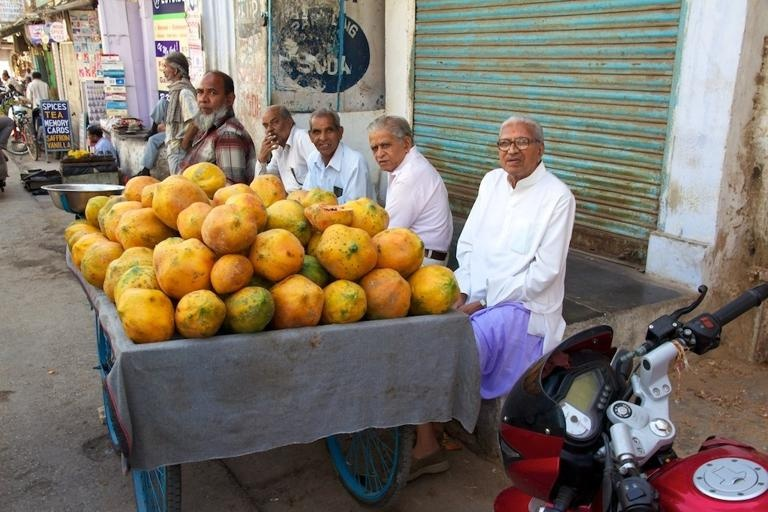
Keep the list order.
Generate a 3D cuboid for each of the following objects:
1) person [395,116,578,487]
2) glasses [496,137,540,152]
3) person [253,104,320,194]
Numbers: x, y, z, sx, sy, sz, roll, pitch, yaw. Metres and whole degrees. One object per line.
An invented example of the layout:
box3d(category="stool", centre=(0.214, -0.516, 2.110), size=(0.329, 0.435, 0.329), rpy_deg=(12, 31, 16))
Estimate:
box3d(category="person", centre=(0.754, 0.404, 3.865), size=(1.148, 2.507, 1.050), rpy_deg=(-4, 8, -38))
box3d(category="glasses", centre=(0.886, -0.733, 3.499), size=(0.264, 0.097, 0.108), rpy_deg=(4, 18, 12))
box3d(category="person", centre=(-0.489, -0.810, 4.953), size=(0.825, 1.021, 0.691), rpy_deg=(0, 10, 8))
